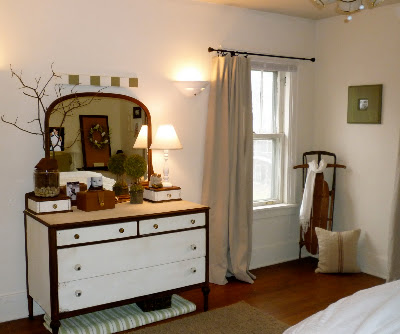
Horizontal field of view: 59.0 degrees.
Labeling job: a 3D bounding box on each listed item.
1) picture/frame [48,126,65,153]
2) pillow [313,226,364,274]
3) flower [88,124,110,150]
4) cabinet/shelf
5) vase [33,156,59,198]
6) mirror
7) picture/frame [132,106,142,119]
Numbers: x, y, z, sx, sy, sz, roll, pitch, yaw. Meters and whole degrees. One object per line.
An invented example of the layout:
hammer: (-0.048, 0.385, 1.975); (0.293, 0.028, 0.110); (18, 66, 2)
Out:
picture/frame: (-1.252, -0.236, 3.053); (0.140, 0.228, 0.019); (-1, -11, -17)
pillow: (1.570, 0.948, 3.970); (0.421, 0.507, 0.169); (1, 0, 8)
flower: (-0.921, -0.268, 3.211); (0.060, 0.210, 0.176); (-6, 26, 47)
cabinet/shelf: (-0.746, 0.474, 3.074); (1.572, 1.231, 0.818); (-5, 9, -30)
vase: (-1.251, 0.101, 2.863); (0.230, 0.333, 0.248); (-1, -7, -21)
mirror: (-0.938, -0.154, 3.142); (0.887, 1.071, 0.042); (-1, 2, -34)
picture/frame: (-0.609, -0.525, 3.374); (0.102, 0.152, 0.013); (-3, 5, -40)
